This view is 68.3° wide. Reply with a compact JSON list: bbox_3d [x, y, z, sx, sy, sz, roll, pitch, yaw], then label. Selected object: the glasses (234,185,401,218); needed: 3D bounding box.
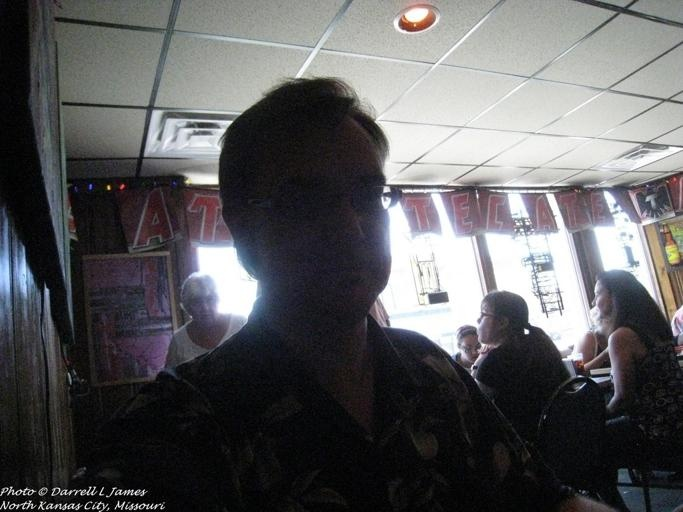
[{"bbox_3d":[-0.017,-0.092,0.830,0.290,0.057,0.092,-4,-6,-17],"label":"glasses"}]
